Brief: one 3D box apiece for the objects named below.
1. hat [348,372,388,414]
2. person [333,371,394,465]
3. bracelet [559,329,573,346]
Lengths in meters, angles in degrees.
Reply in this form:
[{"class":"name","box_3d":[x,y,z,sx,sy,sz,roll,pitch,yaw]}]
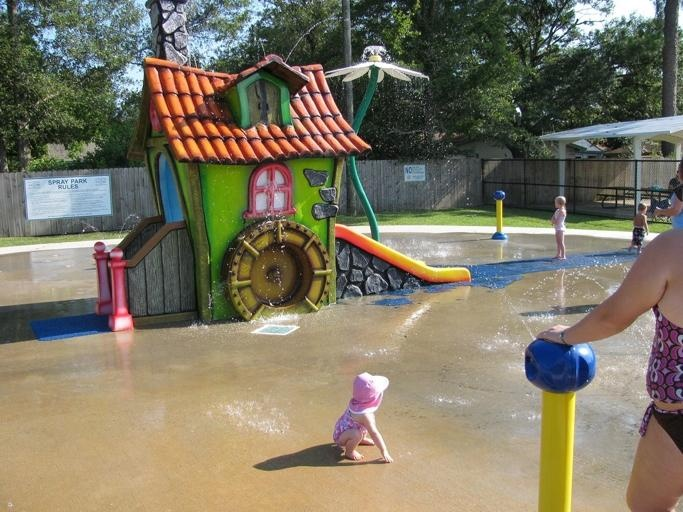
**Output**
[{"class":"hat","box_3d":[0.251,1.289,6.331,0.342,0.345,0.249,-8,13,-32]},{"class":"person","box_3d":[0.234,1.464,6.678,0.576,1.001,1.002,-4,25,-6]},{"class":"bracelet","box_3d":[1.487,0.540,4.447,0.021,0.097,0.092,-10,22,1]}]
